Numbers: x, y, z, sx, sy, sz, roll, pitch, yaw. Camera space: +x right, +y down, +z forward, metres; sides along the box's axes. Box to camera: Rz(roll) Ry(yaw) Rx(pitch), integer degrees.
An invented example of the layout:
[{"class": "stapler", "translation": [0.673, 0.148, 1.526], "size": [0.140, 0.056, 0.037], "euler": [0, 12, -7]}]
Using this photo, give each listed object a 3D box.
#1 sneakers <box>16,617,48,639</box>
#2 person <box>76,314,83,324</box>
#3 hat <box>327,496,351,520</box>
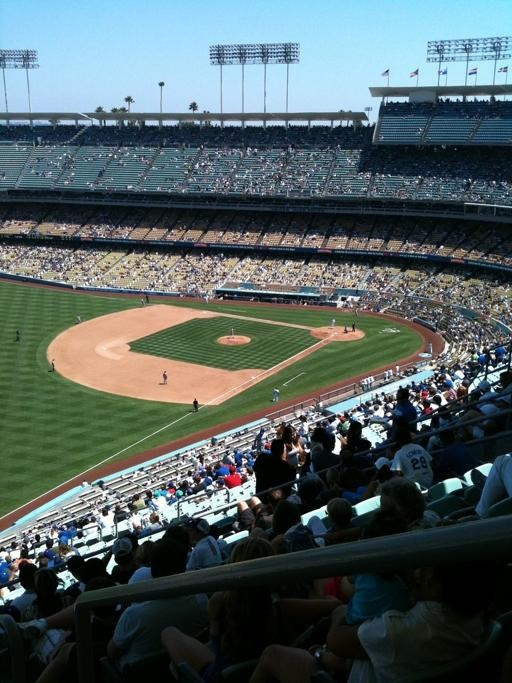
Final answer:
[{"class": "sneakers", "translation": [-1.982, 2.554, 5.645], "size": [0.221, 0.079, 0.218], "euler": [-9, -15, 39]}, {"class": "person", "translation": [-16.163, -2.002, 57.924], "size": [0.792, 0.446, 2.458], "euler": [-5, 9, -14]}, {"class": "hat", "translation": [0.755, 1.594, 6.086], "size": [0.203, 0.204, 0.220], "euler": [1, 23, -4]}]
